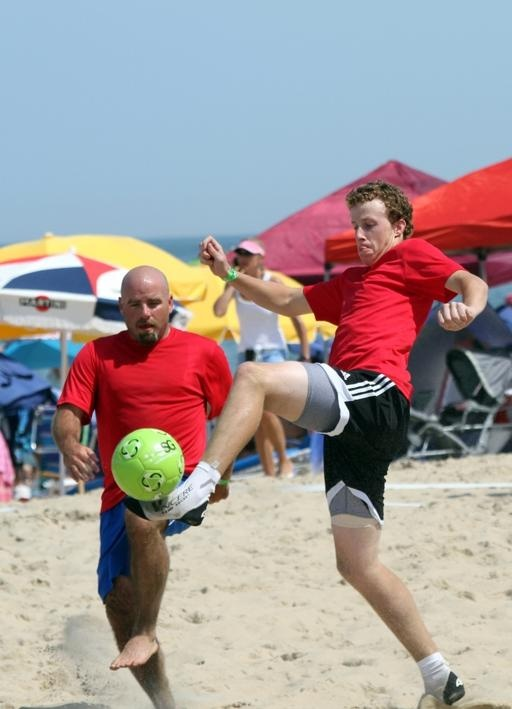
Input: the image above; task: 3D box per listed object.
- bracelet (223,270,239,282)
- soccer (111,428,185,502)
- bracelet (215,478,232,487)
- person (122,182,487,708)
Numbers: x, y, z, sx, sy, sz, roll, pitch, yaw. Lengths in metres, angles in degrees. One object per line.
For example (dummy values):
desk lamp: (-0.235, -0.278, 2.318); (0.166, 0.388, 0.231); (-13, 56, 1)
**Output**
bracelet: (-0.101, -0.319, 3.919); (0.049, 0.045, 0.027); (6, 7, -39)
soccer: (-0.387, 0.378, 3.278); (0.255, 0.233, 0.219); (-5, 27, 17)
bracelet: (-0.118, 0.464, 3.524); (0.070, 0.041, 0.061); (5, -10, -4)
person: (0.253, 0.291, 3.575); (1.110, 1.825, 1.180); (2, 13, 12)
